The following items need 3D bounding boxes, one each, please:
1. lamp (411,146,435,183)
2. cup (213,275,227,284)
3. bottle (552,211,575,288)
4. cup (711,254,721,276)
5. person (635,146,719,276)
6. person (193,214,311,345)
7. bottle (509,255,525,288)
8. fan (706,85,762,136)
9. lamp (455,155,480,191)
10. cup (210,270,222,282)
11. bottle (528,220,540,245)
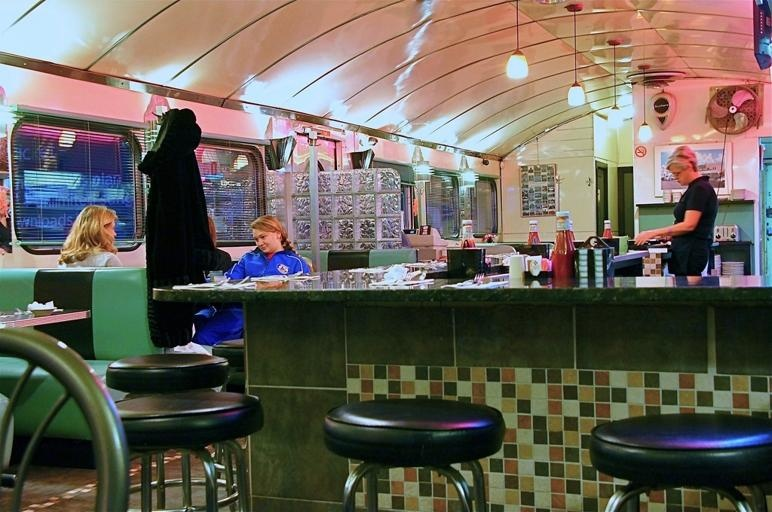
[{"bbox_3d":[0.653,-1.699,13.161,0.289,0.650,0.475,1,10,15],"label":"lamp"},{"bbox_3d":[-0.838,0.115,3.636,0.046,0.029,0.044,0,5,0],"label":"cup"},{"bbox_3d":[0.854,-0.063,3.441,0.109,0.308,0.235,0,10,14],"label":"bottle"},{"bbox_3d":[4.018,0.111,8.760,0.131,0.231,0.238,0,-9,35],"label":"cup"},{"bbox_3d":[2.494,-0.366,5.992,0.457,1.088,0.654,3,11,25],"label":"person"},{"bbox_3d":[-0.991,0.175,5.313,0.911,0.884,0.547,-6,11,-24],"label":"person"},{"bbox_3d":[0.611,0.064,3.334,0.075,0.098,0.308,0,10,10],"label":"bottle"},{"bbox_3d":[5.532,-2.368,11.446,0.896,0.843,0.257,1,-16,22],"label":"fan"},{"bbox_3d":[1.797,-1.764,15.003,0.545,0.749,0.468,2,-12,-25],"label":"lamp"},{"bbox_3d":[-0.865,0.102,3.660,0.063,0.044,0.064,2,2,0],"label":"cup"},{"bbox_3d":[0.921,-0.148,4.485,0.063,0.149,0.179,-1,10,9],"label":"bottle"}]
